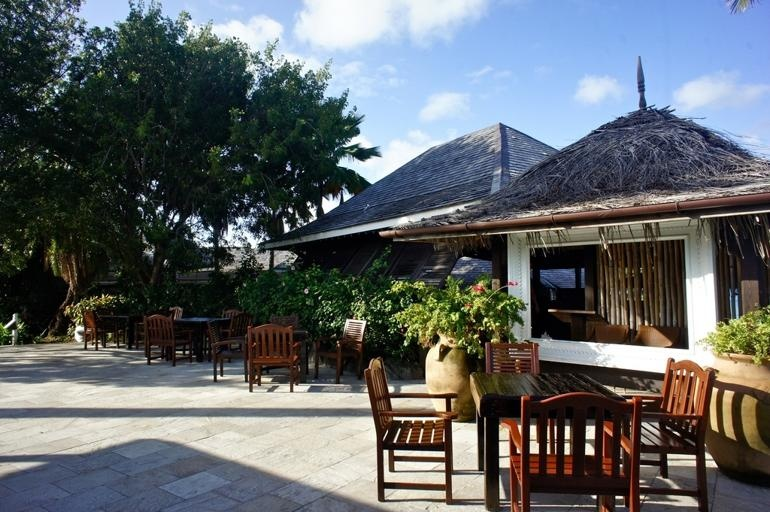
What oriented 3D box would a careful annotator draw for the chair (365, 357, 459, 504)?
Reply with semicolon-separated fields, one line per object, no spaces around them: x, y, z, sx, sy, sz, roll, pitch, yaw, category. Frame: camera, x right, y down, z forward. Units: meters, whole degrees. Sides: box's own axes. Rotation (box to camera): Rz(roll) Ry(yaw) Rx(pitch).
0.464;2.601;8.941;1.833;2.505;1.918;-1;-2;8;chair

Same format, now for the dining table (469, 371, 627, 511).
2.035;2.375;7.826;1.922;1.385;1.897;-1;-9;4;dining table

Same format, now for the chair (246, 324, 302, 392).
-2.503;2.270;12.499;1.494;1.978;1.411;0;-1;-3;chair

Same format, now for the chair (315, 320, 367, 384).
-1.043;2.238;13.084;0.967;1.338;1.013;4;-4;-38;chair
